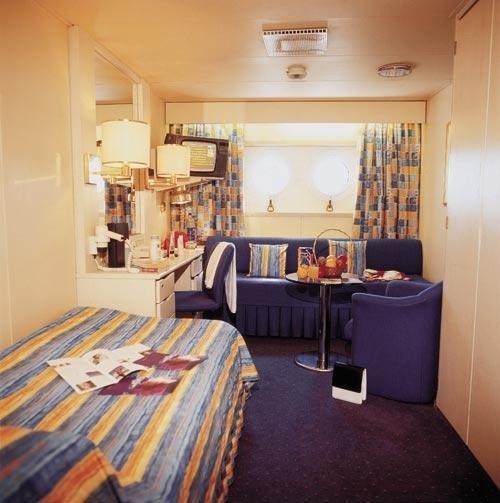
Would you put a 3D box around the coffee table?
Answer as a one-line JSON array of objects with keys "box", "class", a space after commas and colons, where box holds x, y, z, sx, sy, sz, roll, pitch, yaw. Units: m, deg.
[{"box": [0.473, 0.510, 3.472, 0.704, 0.743, 0.667, 1, 8, 7], "class": "coffee table"}]

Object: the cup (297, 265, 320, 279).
[{"box": [0.456, 0.170, 3.310, 0.148, 0.093, 0.087, -1, 2, 4], "class": "cup"}]

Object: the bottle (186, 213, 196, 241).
[{"box": [-0.710, -0.294, 5.143, 0.107, 0.332, 0.068, 9, 11, 27], "class": "bottle"}]

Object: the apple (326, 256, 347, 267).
[{"box": [0.663, 0.083, 3.281, 0.147, 0.086, 0.125, 5, 9, 5], "class": "apple"}]

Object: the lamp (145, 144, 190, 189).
[{"box": [-0.736, -0.769, 3.980, 0.448, 0.478, 0.374, 1, 6, 3], "class": "lamp"}]

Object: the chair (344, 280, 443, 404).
[{"box": [0.983, 0.533, 3.000, 0.682, 0.805, 0.754, 2, 1, 26], "class": "chair"}]

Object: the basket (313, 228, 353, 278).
[{"box": [0.824, 0.029, 4.193, 0.494, 0.602, 0.376, 2, 6, 21], "class": "basket"}]

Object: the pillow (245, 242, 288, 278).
[{"box": [0.205, 0.111, 4.672, 0.383, 0.332, 0.131, 0, -19, 5], "class": "pillow"}]

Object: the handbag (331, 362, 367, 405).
[{"box": [0.624, 0.835, 2.661, 0.250, 0.266, 0.105, -1, -4, 31], "class": "handbag"}]
